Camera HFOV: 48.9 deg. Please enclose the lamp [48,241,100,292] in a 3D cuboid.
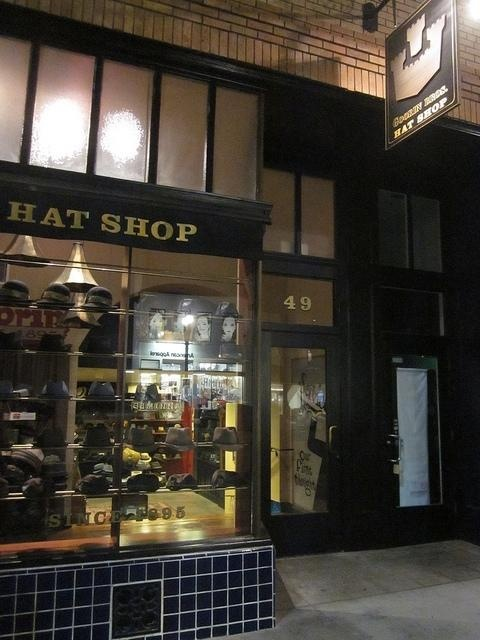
[{"bbox_3d":[-1.120,-0.372,3.667,0.284,0.346,0.290,4,6,36],"label":"lamp"}]
